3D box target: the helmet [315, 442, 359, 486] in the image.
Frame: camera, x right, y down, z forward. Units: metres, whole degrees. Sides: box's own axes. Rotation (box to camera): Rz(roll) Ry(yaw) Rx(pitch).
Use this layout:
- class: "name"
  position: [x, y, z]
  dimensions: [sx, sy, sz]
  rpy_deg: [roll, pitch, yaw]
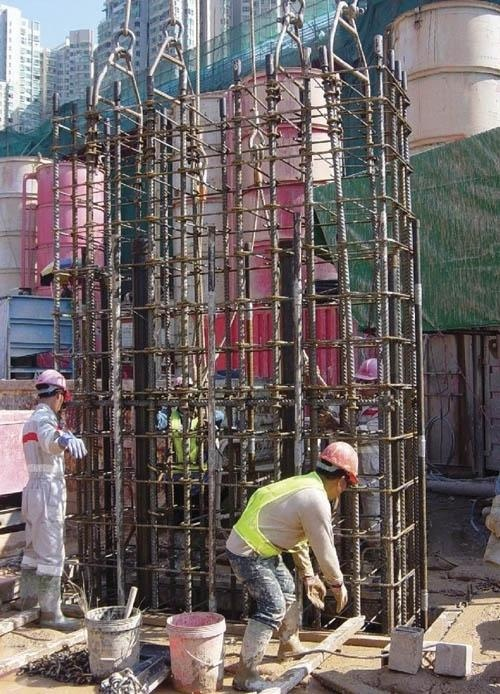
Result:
- class: "helmet"
  position: [0.828, 1.024, 12.533]
  dimensions: [0.389, 0.244, 0.280]
  rpy_deg: [27, -6, -12]

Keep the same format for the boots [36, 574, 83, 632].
- class: "boots"
  position: [-1.883, 2.491, 13.946]
  dimensions: [0.485, 0.563, 0.320]
  rpy_deg: [1, -6, -22]

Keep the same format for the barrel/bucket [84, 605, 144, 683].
- class: "barrel/bucket"
  position: [-1.235, 2.670, 12.771]
  dimensions: [0.490, 0.570, 0.536]
  rpy_deg: [-2, -3, 0]

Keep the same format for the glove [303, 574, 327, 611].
- class: "glove"
  position: [0.583, 2.178, 12.635]
  dimensions: [0.089, 0.302, 0.235]
  rpy_deg: [-22, -15, 10]

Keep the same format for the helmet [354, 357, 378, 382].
- class: "helmet"
  position: [1.365, 0.272, 16.275]
  dimensions: [0.203, 0.155, 0.287]
  rpy_deg: [2, -3, 42]

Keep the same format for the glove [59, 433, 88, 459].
- class: "glove"
  position: [-1.725, 0.948, 13.537]
  dimensions: [0.200, 0.115, 0.319]
  rpy_deg: [-18, 34, -36]

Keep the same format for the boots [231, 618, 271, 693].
- class: "boots"
  position: [0.008, 2.684, 12.348]
  dimensions: [0.348, 0.631, 0.178]
  rpy_deg: [-4, -4, 40]

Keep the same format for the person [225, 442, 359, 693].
- class: "person"
  position: [0.372, 1.922, 12.443]
  dimensions: [1.152, 2.141, 0.847]
  rpy_deg: [-2, -3, 0]
